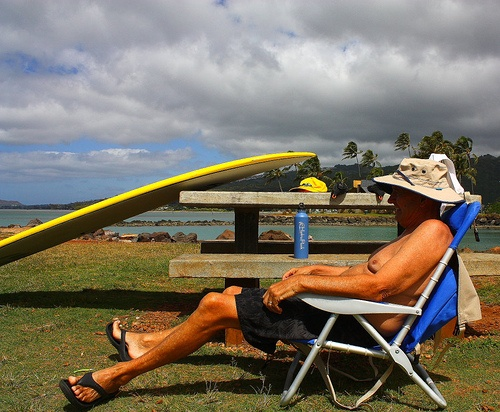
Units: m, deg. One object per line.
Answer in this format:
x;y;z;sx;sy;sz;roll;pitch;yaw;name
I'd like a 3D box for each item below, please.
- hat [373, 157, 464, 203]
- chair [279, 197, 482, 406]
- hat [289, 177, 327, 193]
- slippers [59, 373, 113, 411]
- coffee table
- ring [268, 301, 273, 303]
1.151;-0.174;3.028;0.605;0.171;0.508;6;8;-27;hat
0.888;0.688;3.074;1.255;1.452;0.486;1;5;2;chair
0.667;-0.238;4.997;0.344;0.104;0.214;3;-4;-33;hat
-1.108;1.266;3.093;0.379;0.115;0.179;10;27;-45;slippers
0.289;0.368;4.663;1.992;0.706;1.482;0;0;-1;coffee table
0.132;0.638;3.005;0.019;0.007;0.022;1;3;7;ring
